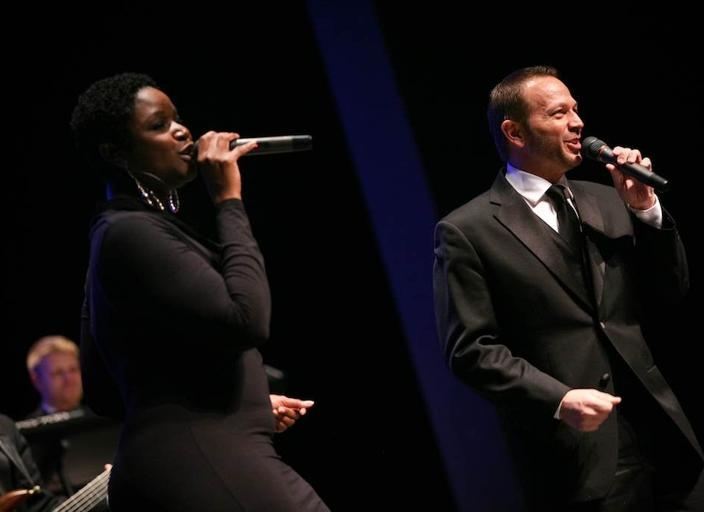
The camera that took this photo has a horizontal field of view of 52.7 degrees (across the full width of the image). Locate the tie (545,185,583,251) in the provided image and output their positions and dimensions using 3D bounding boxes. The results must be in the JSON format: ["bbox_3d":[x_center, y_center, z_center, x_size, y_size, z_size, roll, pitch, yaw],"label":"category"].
[{"bbox_3d":[0.699,-0.119,2.335,0.070,0.237,0.062,-11,-29,8],"label":"tie"}]

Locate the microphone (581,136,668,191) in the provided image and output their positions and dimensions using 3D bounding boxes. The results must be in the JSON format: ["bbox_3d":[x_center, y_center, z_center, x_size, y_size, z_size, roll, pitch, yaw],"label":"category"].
[{"bbox_3d":[0.893,-0.311,2.336,0.314,0.079,0.081,37,61,27],"label":"microphone"}]
